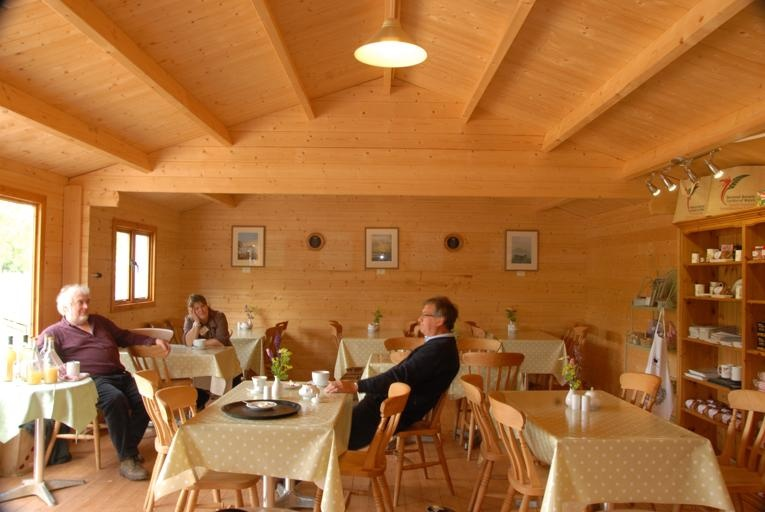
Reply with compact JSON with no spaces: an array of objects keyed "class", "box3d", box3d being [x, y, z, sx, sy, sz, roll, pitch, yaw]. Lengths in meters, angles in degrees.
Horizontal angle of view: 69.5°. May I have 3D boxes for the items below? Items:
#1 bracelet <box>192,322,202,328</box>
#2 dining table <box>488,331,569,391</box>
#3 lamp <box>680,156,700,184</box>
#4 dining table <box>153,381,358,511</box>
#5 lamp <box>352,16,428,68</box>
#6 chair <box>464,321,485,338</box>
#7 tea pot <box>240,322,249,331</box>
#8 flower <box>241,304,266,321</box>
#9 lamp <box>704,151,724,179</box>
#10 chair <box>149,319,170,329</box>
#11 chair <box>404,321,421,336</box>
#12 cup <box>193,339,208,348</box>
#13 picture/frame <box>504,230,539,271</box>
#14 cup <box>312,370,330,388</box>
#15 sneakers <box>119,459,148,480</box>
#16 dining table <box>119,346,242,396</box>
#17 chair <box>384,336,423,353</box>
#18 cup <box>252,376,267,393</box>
[{"class":"bracelet","box3d":[-2.267,0.843,6.682,0.095,0.072,0.021,-2,-40,11]},{"class":"dining table","box3d":[1.897,1.335,7.240,0.991,0.417,0.975,0,-2,4]},{"class":"lamp","box3d":[3.107,-0.836,5.581,0.133,0.269,0.603,-4,-6,28]},{"class":"dining table","box3d":[-0.880,1.322,3.887,1.094,0.314,1.018,1,-3,4]},{"class":"lamp","box3d":[0.103,-1.497,4.132,0.485,0.368,0.420,8,-19,-19]},{"class":"chair","box3d":[1.346,1.104,8.169,0.322,0.112,0.407,2,1,3]},{"class":"tea pot","box3d":[-1.962,1.026,7.924,0.135,0.074,0.107,4,-7,-28]},{"class":"flower","box3d":[-2.029,0.888,8.698,0.362,0.242,0.070,0,9,-10]},{"class":"lamp","box3d":[3.185,-0.842,5.286,0.152,0.290,0.776,-4,-6,30]},{"class":"chair","box3d":[-3.182,0.973,7.851,0.175,0.187,0.163,4,-21,-25]},{"class":"chair","box3d":[0.443,1.082,8.131,0.301,0.235,0.233,0,-3,9]},{"class":"cup","box3d":[-2.057,0.998,6.207,0.127,0.064,0.093,-5,-8,13]},{"class":"picture/frame","box3d":[2.182,-0.078,8.741,0.884,0.796,0.062,1,-3,-7]},{"class":"cup","box3d":[-0.507,1.029,4.596,0.157,0.106,0.172,0,-8,0]},{"class":"sneakers","box3d":[-2.293,1.969,5.058,0.282,0.085,0.140,-1,-2,32]},{"class":"dining table","box3d":[-2.215,1.279,6.049,1.228,0.221,0.605,1,-1,5]},{"class":"chair","box3d":[0.240,0.982,6.186,0.298,0.269,0.220,0,-9,0]},{"class":"cup","box3d":[-0.996,1.052,4.472,0.169,0.128,0.148,-6,-14,15]}]
